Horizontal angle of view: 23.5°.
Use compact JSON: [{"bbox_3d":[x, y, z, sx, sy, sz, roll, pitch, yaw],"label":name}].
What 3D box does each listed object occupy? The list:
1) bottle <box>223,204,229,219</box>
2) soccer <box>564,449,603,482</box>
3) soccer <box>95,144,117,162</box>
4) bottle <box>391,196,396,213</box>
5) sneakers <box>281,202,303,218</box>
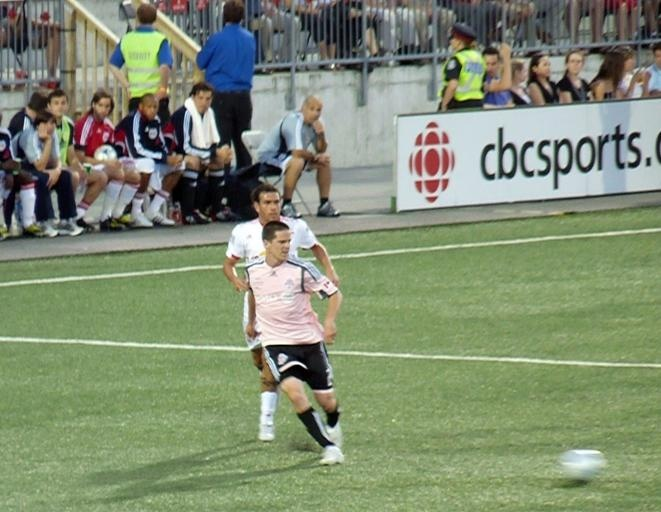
[{"bbox_3d":[-1.296,-0.547,19.738,0.037,0.122,0.083,-11,6,5],"label":"bottle"},{"bbox_3d":[2.017,1.654,12.767,0.361,0.196,0.387,-2,8,9],"label":"soccer"},{"bbox_3d":[-2.712,-1.244,19.159,0.265,0.172,0.308,-4,8,-8],"label":"soccer"},{"bbox_3d":[0.796,-0.662,20.174,0.033,0.212,0.146,-5,8,-24],"label":"bottle"},{"bbox_3d":[-0.450,-0.567,19.722,0.292,0.234,0.111,-7,13,-31],"label":"sneakers"}]
